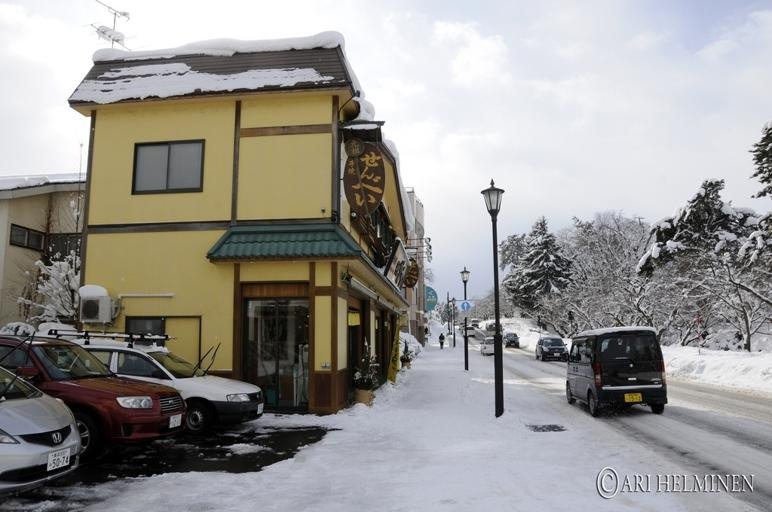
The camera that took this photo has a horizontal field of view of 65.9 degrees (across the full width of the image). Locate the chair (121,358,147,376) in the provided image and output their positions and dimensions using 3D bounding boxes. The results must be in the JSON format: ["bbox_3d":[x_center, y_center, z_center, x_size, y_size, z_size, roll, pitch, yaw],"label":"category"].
[{"bbox_3d":[-7.029,3.132,16.705,0.666,0.288,0.423,24,-22,-35],"label":"chair"}]

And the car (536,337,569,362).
[{"bbox_3d":[11.052,6.363,39.592,1.536,1.359,1.734,0,2,1],"label":"car"}]

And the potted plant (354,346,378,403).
[{"bbox_3d":[-0.702,4.294,20.888,0.790,2.171,0.737,-1,-8,17],"label":"potted plant"}]

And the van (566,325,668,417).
[{"bbox_3d":[7.516,3.709,20.157,1.885,2.281,3.714,-1,-7,3],"label":"van"}]
